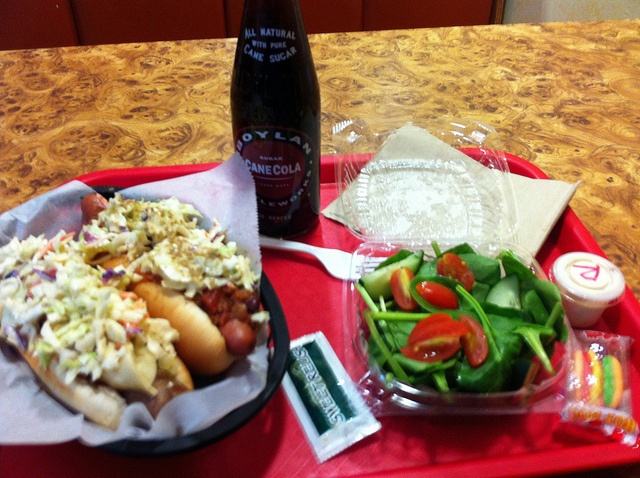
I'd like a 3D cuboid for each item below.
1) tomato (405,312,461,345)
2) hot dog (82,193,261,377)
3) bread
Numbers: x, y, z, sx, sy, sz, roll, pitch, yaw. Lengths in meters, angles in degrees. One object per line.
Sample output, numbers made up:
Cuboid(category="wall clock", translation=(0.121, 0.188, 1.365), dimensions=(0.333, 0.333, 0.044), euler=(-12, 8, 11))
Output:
Cuboid(category="tomato", translation=(0.212, 0.173, 0.878), dimensions=(0.095, 0.075, 0.039), euler=(-20, 91, -11))
Cuboid(category="hot dog", translation=(-0.314, 0.067, 0.956), dimensions=(0.204, 0.166, 0.444), euler=(-22, 67, -39))
Cuboid(category="bread", translation=(0.522, 0.259, 0.911), dimensions=(0.074, 0.027, 0.106), euler=(-3, 59, -1))
